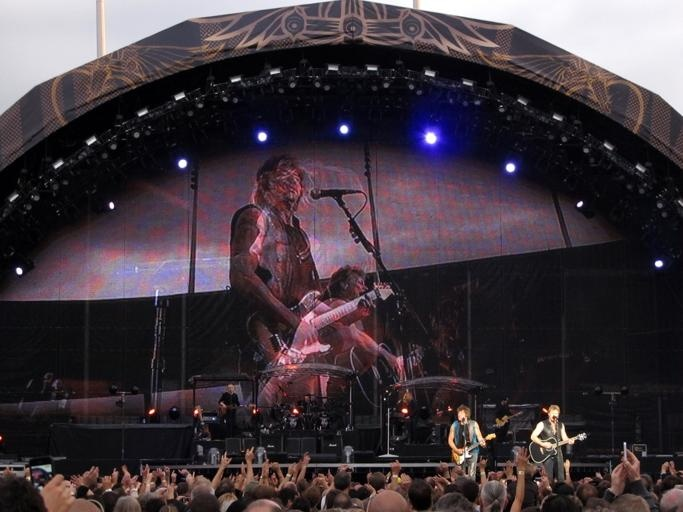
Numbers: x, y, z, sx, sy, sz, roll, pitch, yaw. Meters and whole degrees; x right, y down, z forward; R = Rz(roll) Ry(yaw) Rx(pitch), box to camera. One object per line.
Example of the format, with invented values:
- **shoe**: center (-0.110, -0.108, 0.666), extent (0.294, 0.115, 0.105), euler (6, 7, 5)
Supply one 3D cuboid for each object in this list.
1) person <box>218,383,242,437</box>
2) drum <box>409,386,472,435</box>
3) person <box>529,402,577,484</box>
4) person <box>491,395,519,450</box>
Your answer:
- **person**: center (-2.783, 3.773, 23.437), extent (0.500, 1.383, 0.975), euler (2, -18, -7)
- **drum**: center (2.364, 3.776, 24.085), extent (1.075, 1.426, 0.512), euler (5, -10, -3)
- **person**: center (4.205, 3.728, 19.269), extent (0.879, 1.965, 0.302), euler (-9, -9, 4)
- **person**: center (3.992, 4.130, 23.813), extent (0.552, 1.232, 0.171), euler (7, -16, 16)
